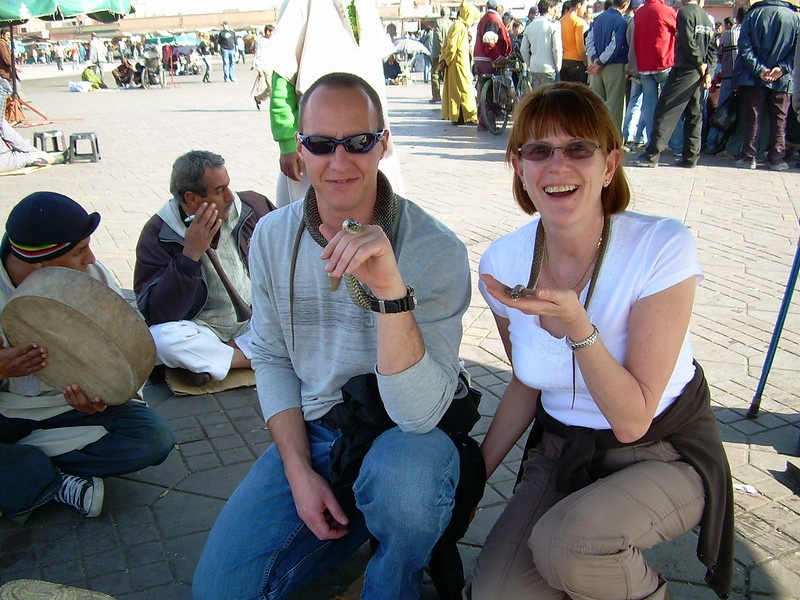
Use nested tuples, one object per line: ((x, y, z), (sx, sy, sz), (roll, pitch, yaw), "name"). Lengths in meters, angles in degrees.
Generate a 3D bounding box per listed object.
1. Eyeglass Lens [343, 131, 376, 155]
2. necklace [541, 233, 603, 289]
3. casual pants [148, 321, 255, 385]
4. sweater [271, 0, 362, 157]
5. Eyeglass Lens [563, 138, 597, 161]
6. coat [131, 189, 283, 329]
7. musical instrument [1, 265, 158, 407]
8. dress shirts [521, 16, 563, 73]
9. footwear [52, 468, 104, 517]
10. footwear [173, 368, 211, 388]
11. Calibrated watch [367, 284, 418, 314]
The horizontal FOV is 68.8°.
((-0.142, -0.601, 2.250), (0.168, 0.072, 0.056), (-19, 28, -34), "Eyeglass Lens")
((0.683, -0.165, 2.264), (0.170, 0.215, 0.055), (4, 16, 23), "necklace")
((-1.398, 0.334, 4.022), (0.586, 0.205, 0.515), (28, 22, 6), "casual pants")
((-0.774, -1.693, 4.679), (0.816, 1.128, 0.587), (-10, 20, -18), "sweater")
((0.658, -0.548, 2.133), (0.119, 0.066, 0.053), (5, 25, 17), "Eyeglass Lens")
((-1.250, -0.233, 3.747), (0.889, 0.640, 0.469), (-14, 23, -31), "coat")
((-1.586, 0.162, 2.934), (0.741, 0.661, 0.176), (13, 24, 8), "musical instrument")
((2.775, -4.930, 11.356), (1.044, 1.208, 0.494), (22, 47, 34), "dress shirts")
((-1.587, 0.967, 2.942), (0.264, 0.362, 0.117), (5, 55, -6), "footwear")
((-1.464, 0.544, 4.079), (0.172, 0.059, 0.167), (19, 0, 22), "footwear")
((-0.031, 0.005, 2.018), (0.110, 0.033, 0.109), (-3, 13, 34), "Calibrated watch")
